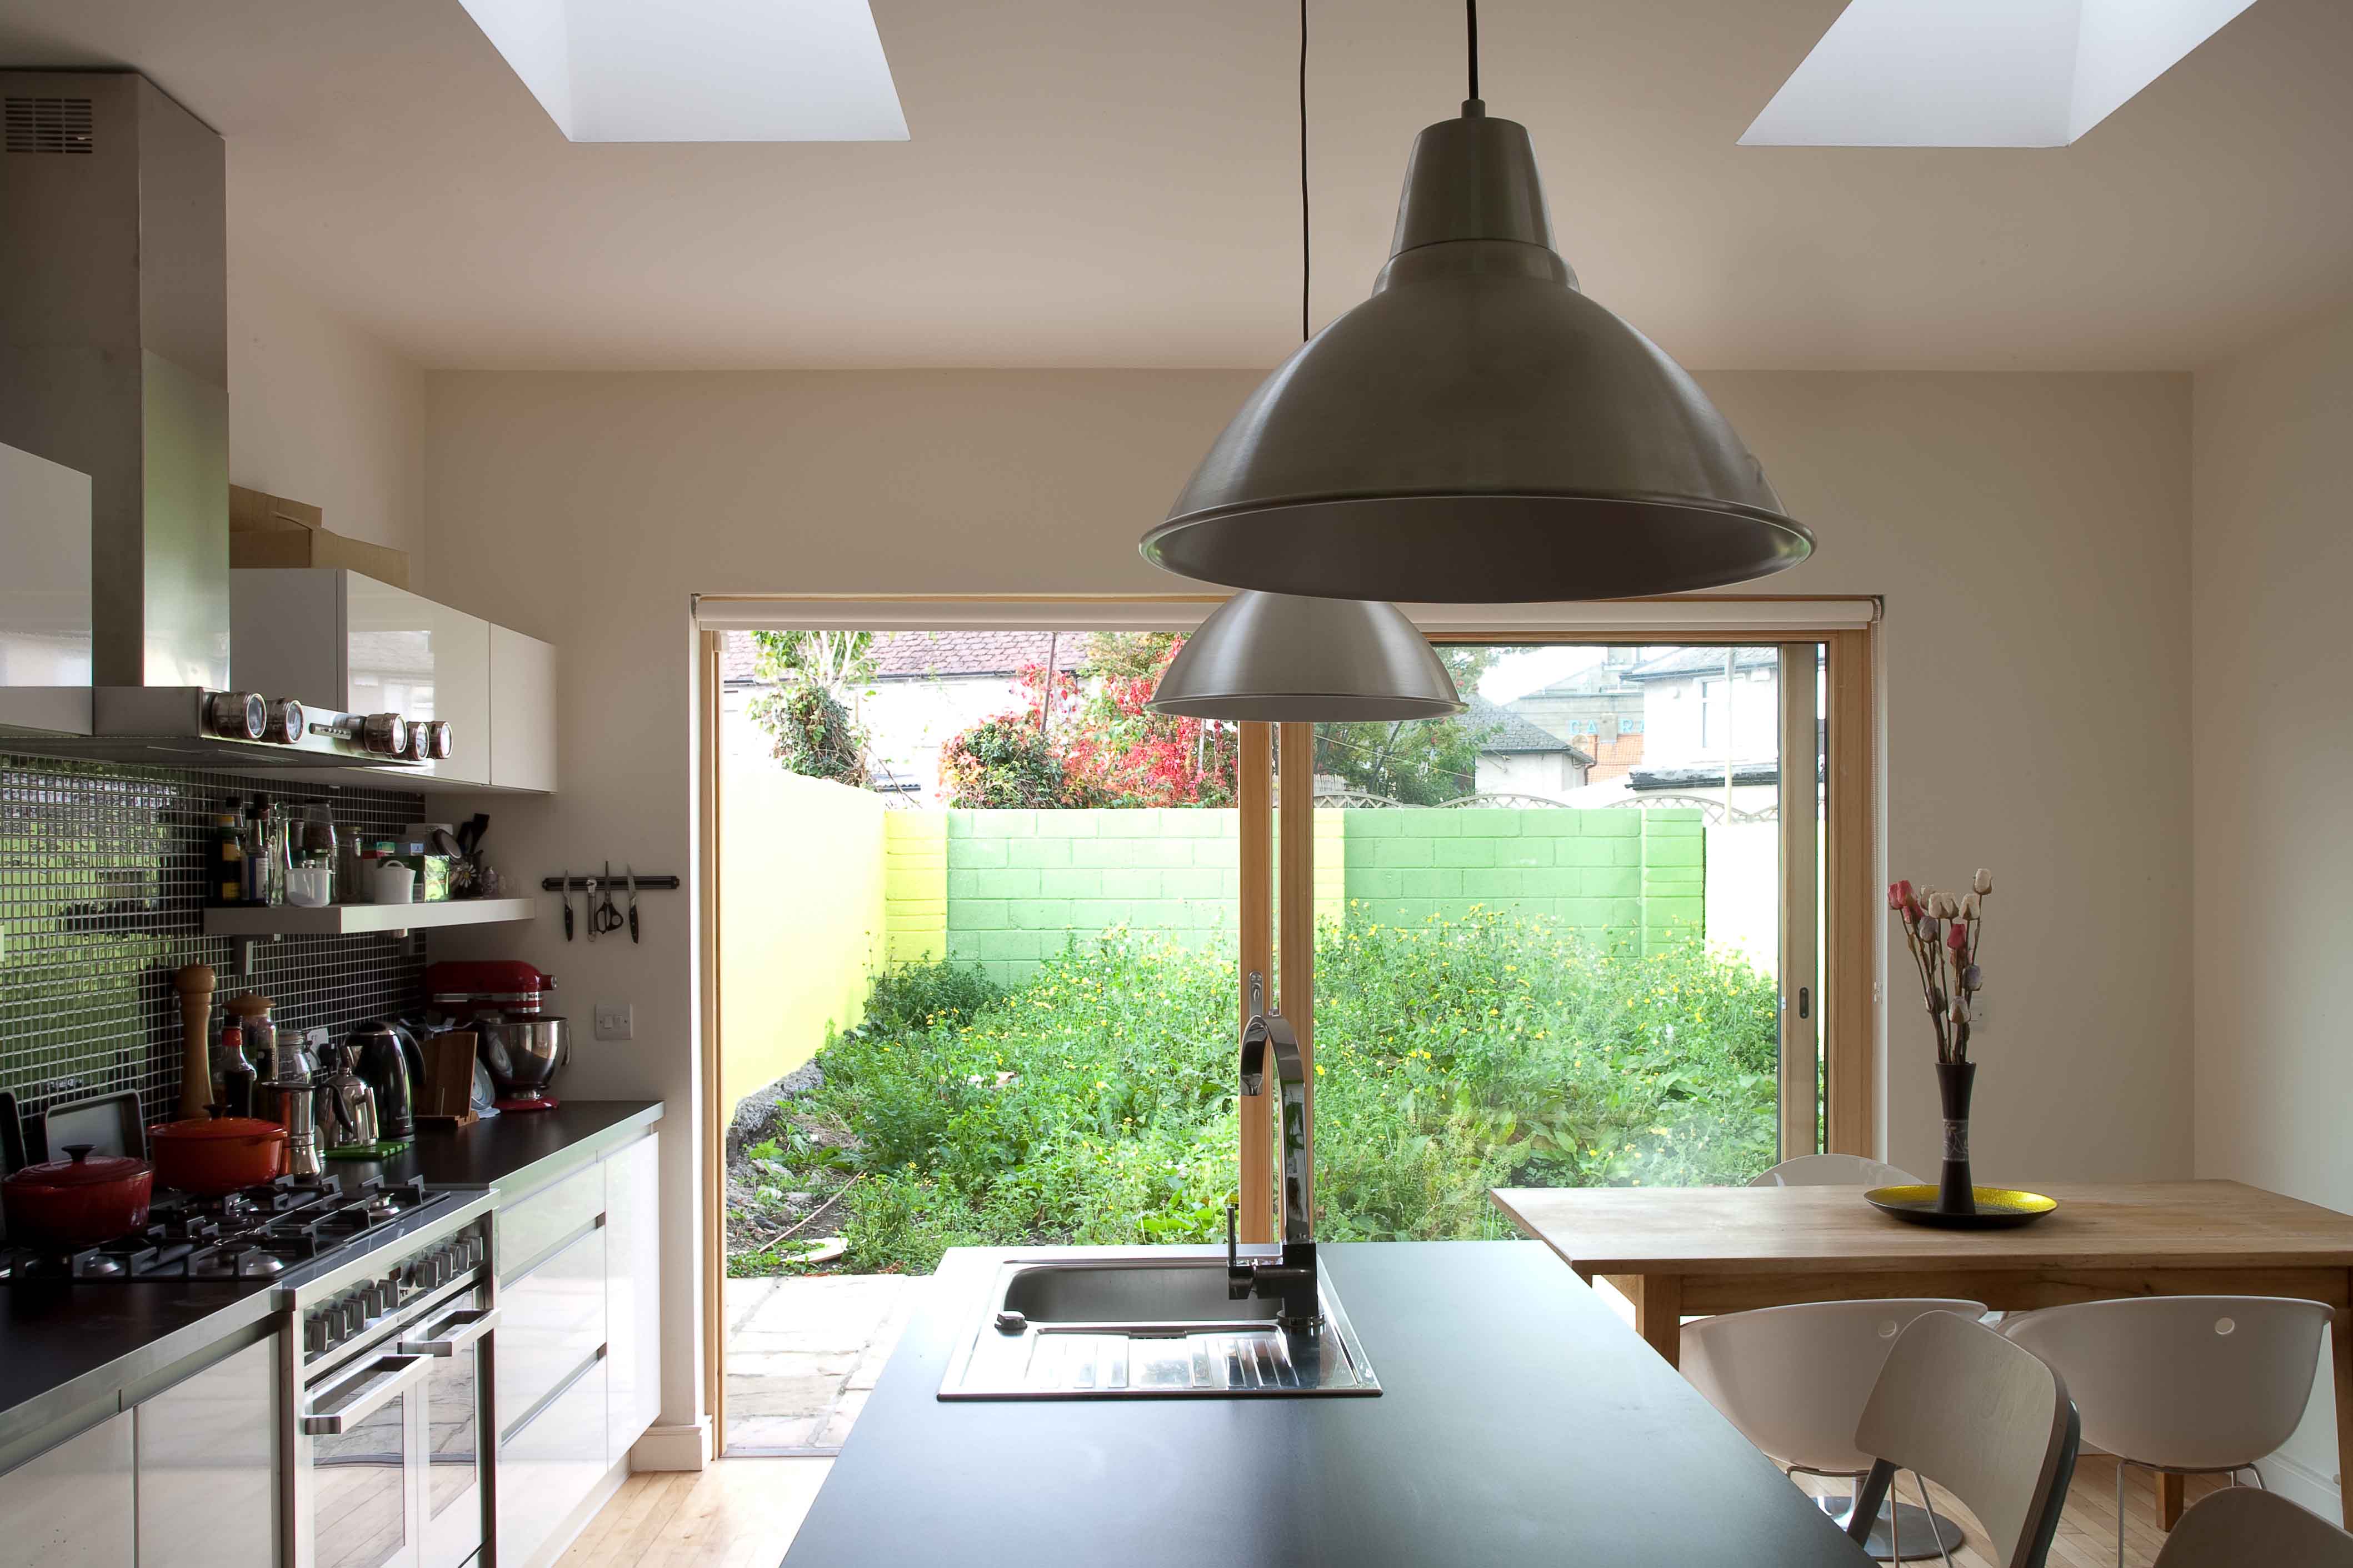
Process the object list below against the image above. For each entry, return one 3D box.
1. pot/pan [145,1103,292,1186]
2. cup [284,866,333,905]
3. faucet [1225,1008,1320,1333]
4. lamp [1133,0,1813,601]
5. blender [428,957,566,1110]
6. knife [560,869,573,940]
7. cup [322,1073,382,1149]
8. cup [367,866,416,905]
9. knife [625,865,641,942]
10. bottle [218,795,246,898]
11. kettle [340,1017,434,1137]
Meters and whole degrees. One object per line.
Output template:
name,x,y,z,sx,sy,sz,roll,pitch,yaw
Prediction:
pot/pan,-2.225,0.821,4.017,0.193,0.122,0.216,0,-2,-15
cup,-2.227,0.256,4.423,0.104,0.111,0.112,1,-1,0
faucet,0.203,0.803,3.620,0.187,0.638,0.317,1,-1,1
lamp,0.428,-0.562,2.972,0.988,1.003,1.027,-1,-7,8
blender,-2.035,0.742,5.160,0.422,0.429,0.258,0,2,-4
knife,-1.855,0.391,5.255,0.033,0.182,0.027,0,-4,10
cup,-2.168,0.868,4.538,0.124,0.203,0.107,2,-1,-35
cup,-2.111,0.280,4.621,0.106,0.076,0.096,1,-5,0
knife,-1.661,0.386,5.263,0.037,0.197,0.017,1,-1,4
bottle,-2.406,0.181,4.399,0.065,0.247,0.114,1,-1,-34
kettle,-2.081,0.820,4.744,0.205,0.328,0.327,-2,-7,9
